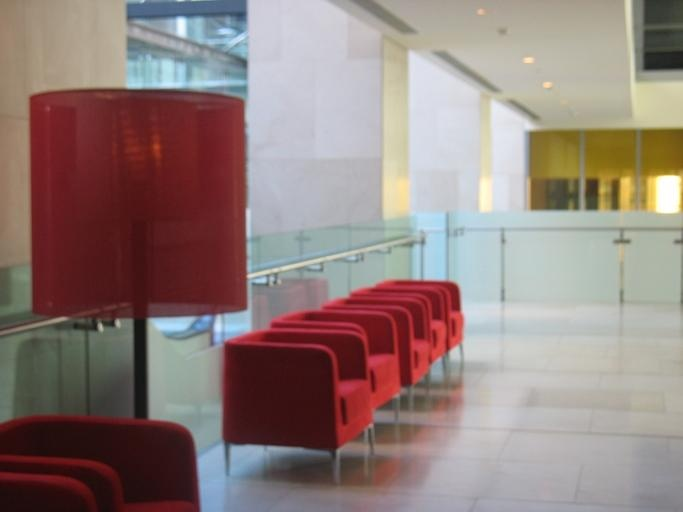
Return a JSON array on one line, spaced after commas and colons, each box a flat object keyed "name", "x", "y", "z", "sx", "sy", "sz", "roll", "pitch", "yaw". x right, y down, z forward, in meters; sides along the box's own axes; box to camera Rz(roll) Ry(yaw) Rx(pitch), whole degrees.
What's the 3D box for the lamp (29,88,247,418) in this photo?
[{"name": "lamp", "x": -0.987, "y": -0.167, "z": 2.548, "sx": 0.726, "sy": 1.320, "sz": 0.796, "roll": 0, "pitch": 1, "yaw": 16}]
